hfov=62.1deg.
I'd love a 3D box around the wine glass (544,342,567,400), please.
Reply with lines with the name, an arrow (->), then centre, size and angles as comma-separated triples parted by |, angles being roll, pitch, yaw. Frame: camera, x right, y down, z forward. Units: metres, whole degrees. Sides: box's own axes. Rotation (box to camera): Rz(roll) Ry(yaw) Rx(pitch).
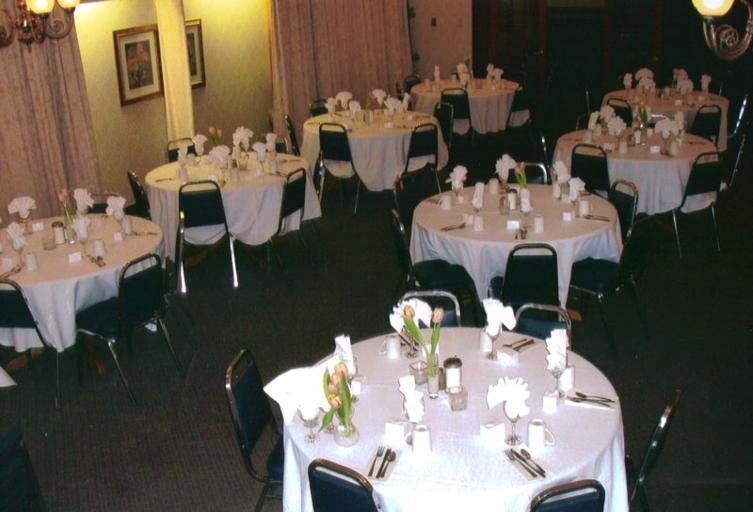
wine glass -> 1.184, 0.726, 4.113 | 0.124, 0.351, 0.198 | 2, 22, 18

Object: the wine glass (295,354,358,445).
wine glass -> -0.310, 0.918, 3.873 | 0.330, 0.411, 0.258 | 13, 34, 24

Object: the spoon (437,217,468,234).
spoon -> 0.711, -0.289, 6.111 | 0.354, 0.162, 0.116 | 0, 43, -8

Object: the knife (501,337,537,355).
knife -> 1.033, 0.645, 4.527 | 0.215, 0.036, 0.109 | -20, 48, -29

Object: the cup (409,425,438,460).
cup -> 0.283, 1.138, 3.784 | 0.109, 0.166, 0.178 | -4, 19, -3

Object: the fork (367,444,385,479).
fork -> -0.004, 1.247, 3.755 | 0.050, 0.025, 0.215 | 2, 45, 15

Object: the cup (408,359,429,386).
cup -> 0.285, 0.797, 4.315 | 0.128, 0.137, 0.129 | -1, 34, 1

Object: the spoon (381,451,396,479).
spoon -> 0.074, 1.253, 3.751 | 0.042, 0.029, 0.180 | 6, 41, 8

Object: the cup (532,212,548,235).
cup -> 1.519, -0.318, 5.941 | 0.155, 0.237, 0.158 | -2, 20, 1

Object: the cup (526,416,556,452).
cup -> 0.975, 1.091, 3.818 | 0.194, 0.202, 0.126 | 3, 21, 8

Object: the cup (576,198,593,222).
cup -> 2.029, -0.457, 6.112 | 0.111, 0.194, 0.179 | 4, 13, 32

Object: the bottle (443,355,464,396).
bottle -> 0.493, 0.792, 4.147 | 0.171, 0.306, 0.182 | -2, 12, 0

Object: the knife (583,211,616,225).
knife -> 2.160, -0.370, 6.084 | 0.303, 0.052, 0.099 | 14, 55, 26

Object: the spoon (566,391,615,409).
spoon -> 1.385, 0.941, 4.063 | 0.314, 0.051, 0.122 | 0, 23, 16

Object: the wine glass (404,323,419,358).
wine glass -> 0.244, 0.625, 4.581 | 0.111, 0.130, 0.248 | -4, 22, 2

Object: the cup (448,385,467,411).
cup -> 0.526, 0.932, 4.116 | 0.119, 0.138, 0.129 | -1, 15, 0

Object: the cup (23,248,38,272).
cup -> -3.115, 0.048, 5.684 | 0.148, 0.187, 0.159 | 2, 5, 0

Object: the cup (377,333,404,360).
cup -> 0.105, 0.661, 4.584 | 0.177, 0.203, 0.121 | 1, 6, 10

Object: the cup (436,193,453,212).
cup -> 0.730, -0.566, 6.547 | 0.152, 0.211, 0.185 | 5, 12, 22

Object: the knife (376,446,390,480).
knife -> 0.045, 1.253, 3.756 | 0.045, 0.029, 0.195 | 7, 43, 7

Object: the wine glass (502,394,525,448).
wine glass -> 0.855, 0.970, 3.861 | 0.126, 0.327, 0.233 | 0, 21, 13

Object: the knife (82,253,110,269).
knife -> -2.580, 0.039, 5.733 | 0.347, 0.055, 0.107 | 23, 57, 38
